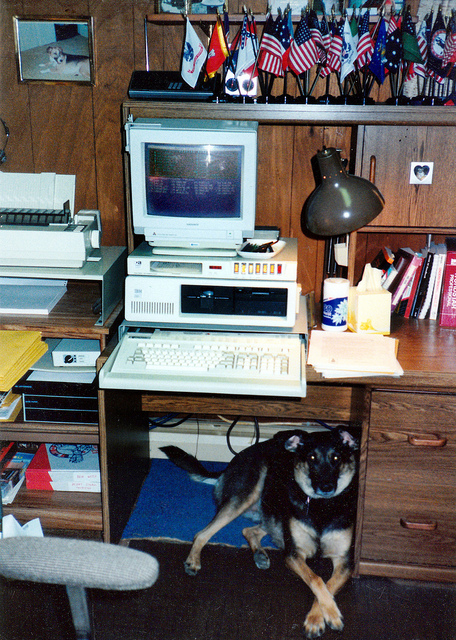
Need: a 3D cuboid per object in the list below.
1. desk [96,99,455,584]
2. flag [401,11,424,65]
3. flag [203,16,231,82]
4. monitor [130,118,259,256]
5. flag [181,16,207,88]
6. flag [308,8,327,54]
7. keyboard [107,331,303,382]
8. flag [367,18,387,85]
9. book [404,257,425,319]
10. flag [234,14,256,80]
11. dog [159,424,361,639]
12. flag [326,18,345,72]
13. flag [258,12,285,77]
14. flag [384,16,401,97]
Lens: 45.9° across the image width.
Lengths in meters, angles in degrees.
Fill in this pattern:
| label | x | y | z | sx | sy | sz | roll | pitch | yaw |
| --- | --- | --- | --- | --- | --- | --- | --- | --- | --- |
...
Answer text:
| label | x | y | z | sx | sy | sz | roll | pitch | yaw |
| --- | --- | --- | --- | --- | --- | --- | --- | --- | --- |
| desk | 0.172 | 0.029 | 1.679 | 1.031 | 1.346 | 0.705 | 1 | 22 | 6 |
| flag | 0.520 | -0.796 | 1.513 | 0.062 | 0.138 | 0.056 | 7 | 23 | 20 |
| flag | -0.037 | -0.789 | 1.558 | 0.072 | 0.027 | 0.199 | -27 | -17 | -13 |
| monitor | -0.092 | -0.373 | 1.474 | 0.317 | 0.351 | 0.201 | 2 | 34 | 3 |
| flag | -0.109 | -0.814 | 1.608 | 0.088 | 0.235 | 0.018 | -11 | -4 | 2 |
| flag | 0.257 | -0.843 | 1.571 | 0.048 | 0.111 | 0.054 | -3 | 22 | -3 |
| keyboard | -0.052 | 0.085 | 1.433 | 0.495 | 0.037 | 0.240 | 1 | 23 | 7 |
| flag | 0.427 | -0.772 | 1.540 | 0.049 | 0.165 | 0.065 | 5 | 22 | 16 |
| book | 0.581 | -0.110 | 1.683 | 0.017 | 0.117 | 0.155 | 19 | 41 | 7 |
| flag | 0.054 | -0.787 | 1.548 | 0.065 | 0.196 | 0.016 | 23 | 34 | 35 |
| dog | 0.102 | 0.581 | 1.783 | 0.340 | 0.415 | 0.694 | 6 | 4 | -27 |
| flag | 0.309 | -0.795 | 1.558 | 0.044 | 0.131 | 0.066 | 1 | 22 | 7 |
| flag | 0.130 | -0.809 | 1.570 | 0.084 | 0.219 | 0.025 | 5 | 61 | 5 |
| flag | 0.471 | -0.788 | 1.543 | 0.048 | 0.146 | 0.065 | 4 | 22 | 14 |
